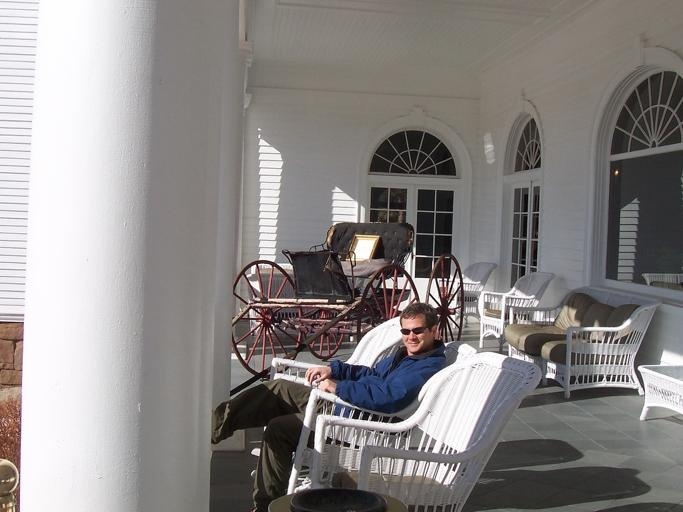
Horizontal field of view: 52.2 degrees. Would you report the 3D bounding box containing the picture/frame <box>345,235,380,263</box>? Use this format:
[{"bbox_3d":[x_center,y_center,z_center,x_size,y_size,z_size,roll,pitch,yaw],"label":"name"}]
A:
[{"bbox_3d":[0.287,-0.086,9.247,0.396,0.453,0.043,-1,-35,39],"label":"picture/frame"}]

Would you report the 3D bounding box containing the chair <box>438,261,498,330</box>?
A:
[{"bbox_3d":[1.994,0.571,10.241,0.887,1.359,0.909,1,-2,-11],"label":"chair"}]

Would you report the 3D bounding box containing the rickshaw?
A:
[{"bbox_3d":[0.147,0.385,8.235,1.572,1.593,3.081,-1,10,35],"label":"rickshaw"}]

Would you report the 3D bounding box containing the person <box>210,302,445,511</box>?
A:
[{"bbox_3d":[0.024,0.824,4.139,1.416,1.097,0.833,7,-9,-23],"label":"person"}]

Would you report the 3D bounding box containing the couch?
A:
[{"bbox_3d":[2.395,0.862,7.265,1.078,0.967,1.684,2,2,-7],"label":"couch"}]
